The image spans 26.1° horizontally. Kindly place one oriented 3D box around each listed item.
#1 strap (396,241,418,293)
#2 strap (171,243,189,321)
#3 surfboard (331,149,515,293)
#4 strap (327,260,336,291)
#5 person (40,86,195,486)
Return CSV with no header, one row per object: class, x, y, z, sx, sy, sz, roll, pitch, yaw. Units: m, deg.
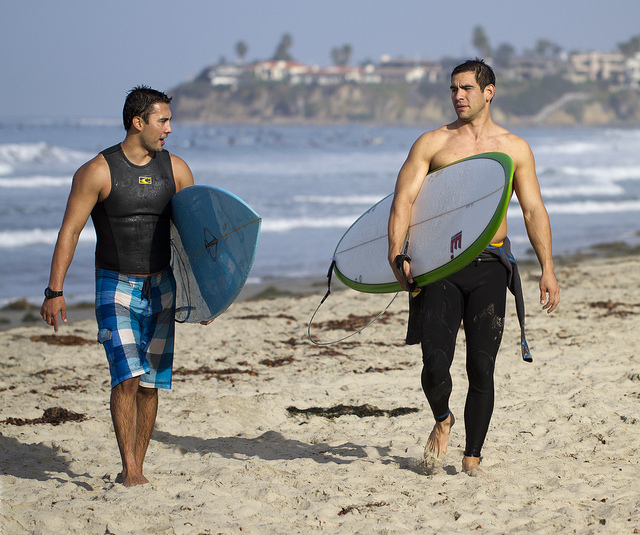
strap,0.795,0.045,12.868,0.082,0.337,0.199,-15,-1,33
strap,-1.342,0.097,13.193,0.200,0.721,0.040,-7,7,42
surfboard,1.229,-0.507,13.071,1.092,0.222,2.434,-4,35,23
strap,0.090,0.066,13.412,0.041,0.301,0.046,2,-26,26
person,-1.788,0.182,12.940,1.307,3.664,0.683,-3,12,-14
